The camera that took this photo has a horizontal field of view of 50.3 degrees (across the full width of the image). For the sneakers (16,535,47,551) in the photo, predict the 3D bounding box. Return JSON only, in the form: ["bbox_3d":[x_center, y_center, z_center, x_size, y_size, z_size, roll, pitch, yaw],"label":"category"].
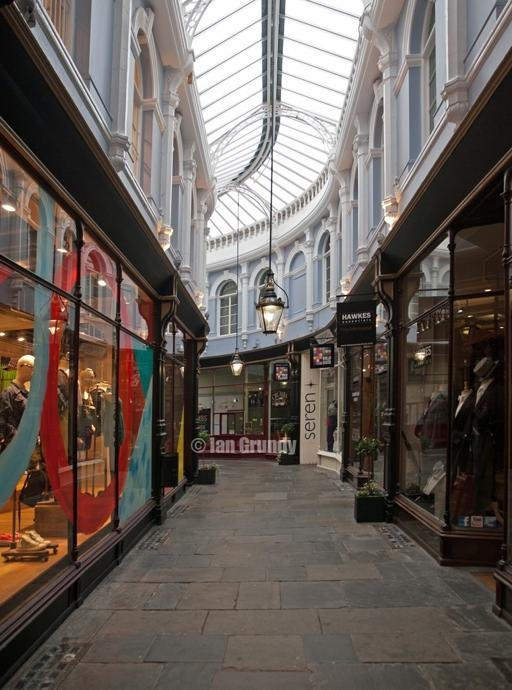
[{"bbox_3d":[-1.444,1.266,3.492,0.125,0.058,0.096,1,-4,-5],"label":"sneakers"}]

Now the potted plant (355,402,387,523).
[{"bbox_3d":[1.630,1.982,8.055,0.452,1.262,0.469,1,-8,-1],"label":"potted plant"}]

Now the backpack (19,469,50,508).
[{"bbox_3d":[-1.439,0.924,3.543,0.121,0.190,0.180,1,-14,-7],"label":"backpack"}]

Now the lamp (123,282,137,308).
[{"bbox_3d":[-1.530,-0.633,6.600,0.172,0.197,0.188,0,-12,-7],"label":"lamp"}]

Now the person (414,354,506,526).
[{"bbox_3d":[2.262,0.965,5.600,0.559,1.720,0.367,-4,-8,24],"label":"person"}]

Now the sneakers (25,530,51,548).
[{"bbox_3d":[-1.438,1.281,3.598,0.142,0.071,0.052,4,-3,-6],"label":"sneakers"}]
